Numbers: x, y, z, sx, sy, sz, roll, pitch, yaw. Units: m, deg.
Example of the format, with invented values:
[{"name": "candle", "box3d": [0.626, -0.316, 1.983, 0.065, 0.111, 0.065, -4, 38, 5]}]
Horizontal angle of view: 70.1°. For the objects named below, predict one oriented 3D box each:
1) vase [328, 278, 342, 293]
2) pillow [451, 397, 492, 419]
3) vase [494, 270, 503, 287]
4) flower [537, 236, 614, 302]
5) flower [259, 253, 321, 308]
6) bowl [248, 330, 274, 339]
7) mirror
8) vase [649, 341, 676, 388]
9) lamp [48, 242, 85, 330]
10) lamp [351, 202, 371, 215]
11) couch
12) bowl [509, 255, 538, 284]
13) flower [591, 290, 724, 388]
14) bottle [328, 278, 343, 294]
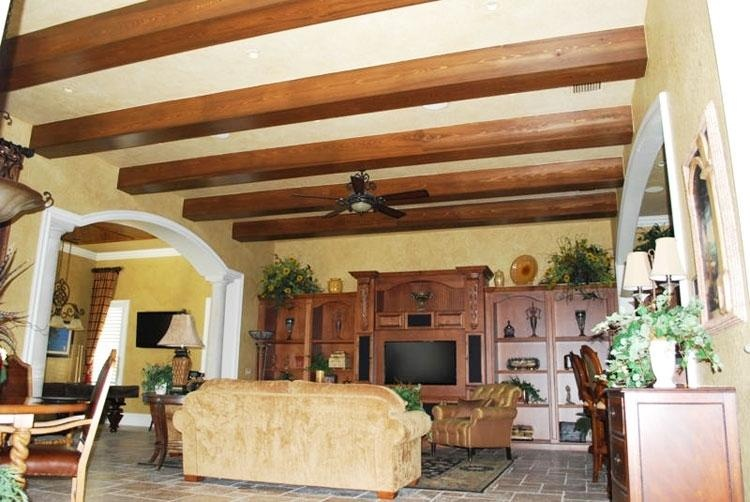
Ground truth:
[{"name": "vase", "box3d": [-0.720, 0.636, 9.961, 0.263, 0.300, 0.320, -3, -14, 17]}, {"name": "pillow", "box3d": [1.372, 2.244, 7.657, 0.488, 0.297, 0.140, -11, -32, 44]}, {"name": "vase", "box3d": [2.130, 0.457, 9.120, 0.145, 0.324, 0.255, -1, -14, 9]}, {"name": "flower", "box3d": [3.307, 0.249, 8.626, 1.184, 0.692, 1.158, 2, 2, 37]}, {"name": "flower", "box3d": [-1.640, 0.627, 10.262, 1.299, 0.807, 0.967, 3, -14, -19]}, {"name": "bowl", "box3d": [-1.957, 1.443, 9.141, 0.324, 0.099, 0.286, 2, -7, -8]}, {"name": "mirror", "box3d": [2.425, -0.196, 4.582, 0.170, 1.729, 3.068, 4, -7, 18]}, {"name": "vase", "box3d": [1.912, 0.741, 3.518, 0.157, 0.316, 0.314, -6, -15, 25]}, {"name": "lamp", "box3d": [-6.013, 0.670, 10.569, 0.610, 1.736, 1.376, 9, -16, -27]}, {"name": "lamp", "box3d": [-0.158, -0.532, 6.447, 0.163, 0.091, 0.145, -6, 0, 12]}, {"name": "couch", "box3d": [-0.775, 1.880, 5.451, 2.404, 1.073, 0.474, -2, -15, 15]}, {"name": "bowl", "box3d": [2.564, 0.314, 9.125, 0.461, 0.572, 0.316, -2, -15, 13]}, {"name": "flower", "box3d": [1.924, 0.631, 3.833, 0.970, 0.538, 0.863, 1, -8, -11]}, {"name": "bottle", "box3d": [-0.732, 0.639, 9.944, 0.278, 0.205, 0.244, -1, -11, 4]}]
